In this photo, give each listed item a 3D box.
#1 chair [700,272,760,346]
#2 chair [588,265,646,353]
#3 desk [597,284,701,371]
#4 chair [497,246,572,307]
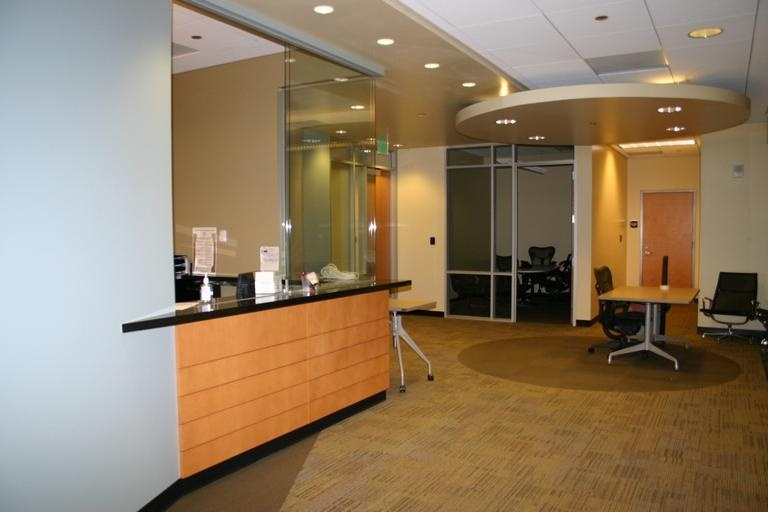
[{"bbox_3d":[5.862,0.830,9.064,0.816,1.082,0.787,3,7,32],"label":"chair"},{"bbox_3d":[3.632,0.837,8.136,0.877,1.294,0.950,0,6,16],"label":"chair"},{"bbox_3d":[3.883,0.997,7.858,1.159,0.956,1.655,3,7,33],"label":"desk"},{"bbox_3d":[3.133,0.413,11.055,1.555,1.274,1.163,-1,-3,11],"label":"chair"}]
